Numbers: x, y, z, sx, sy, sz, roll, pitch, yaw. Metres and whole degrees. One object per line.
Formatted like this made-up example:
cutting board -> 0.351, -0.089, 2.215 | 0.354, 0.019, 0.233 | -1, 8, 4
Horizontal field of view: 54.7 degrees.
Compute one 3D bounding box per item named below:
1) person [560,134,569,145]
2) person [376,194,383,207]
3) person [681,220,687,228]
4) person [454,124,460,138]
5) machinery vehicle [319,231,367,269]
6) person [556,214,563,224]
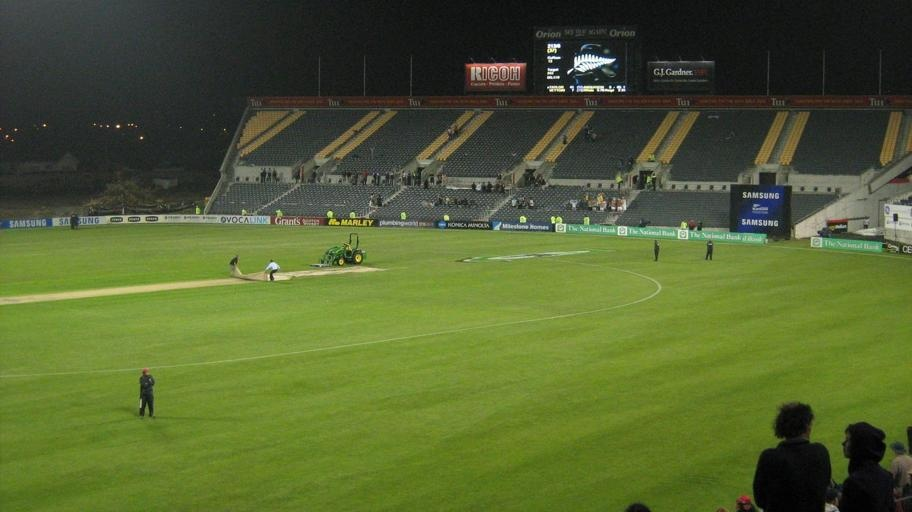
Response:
person -> 13.595, -14.801, 111.068 | 0.892, 1.291, 1.521 | 0, 6, 6
person -> -9.453, -6.833, 108.440 | 0.755, 1.300, 1.507 | -1, 6, -4
person -> 22.368, -3.136, 86.789 | 0.755, 0.965, 1.187 | -1, 4, 10
person -> 0.010, -16.635, 117.250 | 0.952, 1.250, 1.337 | 0, 6, 1
machinery vehicle -> -8.782, -0.470, 67.609 | 3.976, 1.841, 1.768 | -9, 15, -32
person -> 11.192, -4.012, 96.807 | 0.901, 0.405, 0.894 | 3, -20, 8
